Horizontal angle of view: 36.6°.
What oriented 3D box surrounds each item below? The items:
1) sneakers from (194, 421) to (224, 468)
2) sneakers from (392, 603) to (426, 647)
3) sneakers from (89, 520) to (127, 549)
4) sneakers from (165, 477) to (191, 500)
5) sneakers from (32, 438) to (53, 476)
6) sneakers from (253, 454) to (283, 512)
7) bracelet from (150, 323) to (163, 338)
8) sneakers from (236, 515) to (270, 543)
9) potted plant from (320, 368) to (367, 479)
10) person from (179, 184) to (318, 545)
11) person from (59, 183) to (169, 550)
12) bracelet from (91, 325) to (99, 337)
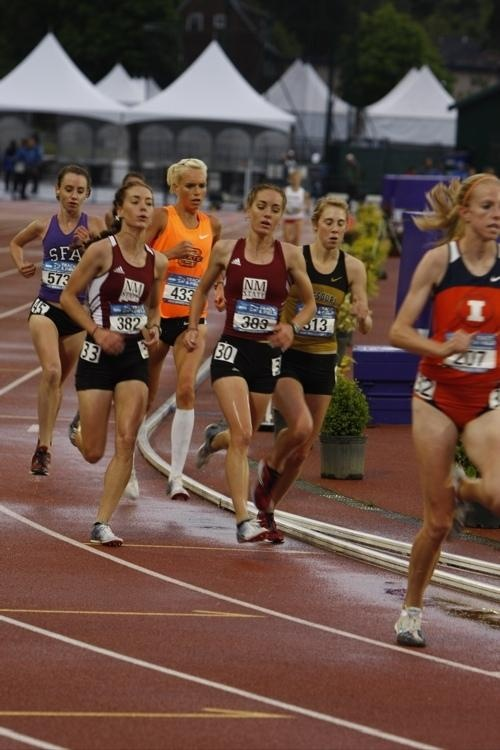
[{"bbox_3d":[-0.322,0.488,5.158,0.150,0.397,0.122,32,38,-1],"label":"sneakers"},{"bbox_3d":[0.634,0.993,3.024,0.093,0.120,0.200,2,-4,-1],"label":"sneakers"},{"bbox_3d":[-0.796,0.887,4.194,0.105,0.101,0.226,4,-6,-38],"label":"sneakers"},{"bbox_3d":[-0.519,0.816,5.370,0.134,0.069,0.180,-3,39,-16],"label":"sneakers"},{"bbox_3d":[-1.597,0.666,5.752,0.127,0.132,0.319,1,0,-8],"label":"sneakers"},{"bbox_3d":[0.100,0.660,4.559,0.127,0.324,0.136,3,23,-8],"label":"sneakers"},{"bbox_3d":[-0.555,-0.244,4.451,0.080,0.041,0.097,8,39,-14],"label":"bracelet"},{"bbox_3d":[0.005,0.853,4.073,0.117,0.089,0.198,2,-14,-19],"label":"sneakers"},{"bbox_3d":[0.865,0.435,6.319,0.577,0.874,0.512,1,-8,5],"label":"potted plant"},{"bbox_3d":[-0.004,-0.034,4.374,0.671,2.058,0.880,1,2,-11],"label":"person"},{"bbox_3d":[-0.758,-0.090,4.173,0.545,2.103,0.662,1,2,-2],"label":"person"},{"bbox_3d":[-0.802,-0.231,3.914,0.012,0.043,0.045,24,-11,-13],"label":"bracelet"}]
